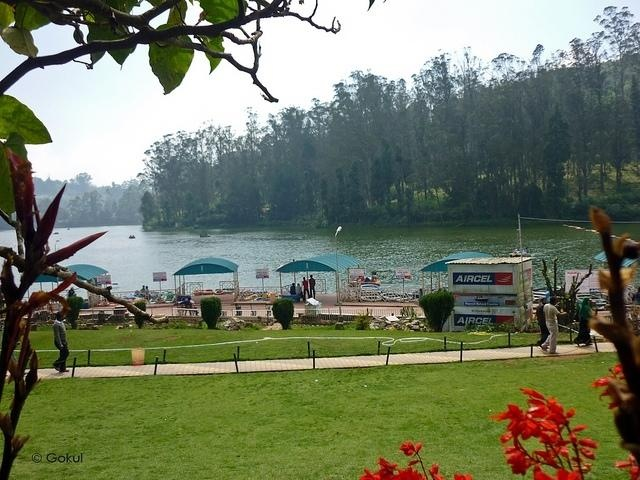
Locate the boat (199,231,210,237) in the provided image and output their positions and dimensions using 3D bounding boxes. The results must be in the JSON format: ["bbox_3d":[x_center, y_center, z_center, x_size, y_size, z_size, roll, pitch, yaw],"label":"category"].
[{"bbox_3d":[-24.676,-1.296,122.377,1.430,0.836,2.070,0,2,-5],"label":"boat"}]

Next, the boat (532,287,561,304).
[{"bbox_3d":[8.636,2.116,21.950,1.009,0.505,1.799,-1,-4,11],"label":"boat"}]

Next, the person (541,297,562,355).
[{"bbox_3d":[5.911,2.206,14.770,0.454,1.409,1.699,-2,0,21],"label":"person"}]

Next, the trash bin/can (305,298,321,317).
[{"bbox_3d":[-0.348,3.094,26.313,0.537,0.771,0.966,-2,2,5],"label":"trash bin/can"}]

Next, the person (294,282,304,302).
[{"bbox_3d":[-1.225,3.104,33.988,0.553,1.028,1.550,-2,0,-3],"label":"person"}]

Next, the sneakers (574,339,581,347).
[{"bbox_3d":[6.829,2.734,15.235,0.128,0.181,0.055,16,-36,17],"label":"sneakers"}]
